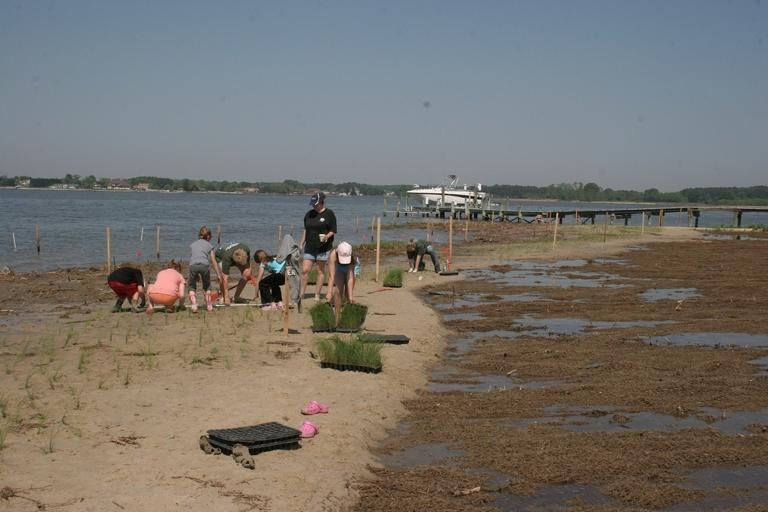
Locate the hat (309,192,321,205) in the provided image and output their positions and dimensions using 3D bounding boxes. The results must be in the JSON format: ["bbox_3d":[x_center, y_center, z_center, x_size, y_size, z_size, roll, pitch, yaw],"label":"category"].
[{"bbox_3d":[-1.568,-1.330,16.485,0.274,0.282,0.503,-4,14,-4],"label":"hat"}]

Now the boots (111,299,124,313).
[{"bbox_3d":[-6.649,1.259,17.805,0.200,0.520,0.224,1,42,-19],"label":"boots"}]

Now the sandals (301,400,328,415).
[{"bbox_3d":[-1.169,2.528,11.927,0.402,0.141,0.194,3,-7,-17],"label":"sandals"}]

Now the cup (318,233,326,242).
[{"bbox_3d":[-1.424,-0.440,16.564,0.136,0.198,0.180,-6,15,-12],"label":"cup"}]

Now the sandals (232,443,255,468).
[{"bbox_3d":[-2.064,2.893,10.384,0.230,0.249,0.404,-10,16,-27],"label":"sandals"}]

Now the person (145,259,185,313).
[{"bbox_3d":[-5.540,0.689,17.709,1.160,0.972,1.318,4,22,-3],"label":"person"}]

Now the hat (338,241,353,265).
[{"bbox_3d":[-0.879,-0.072,15.705,0.347,0.460,0.430,-4,15,-3],"label":"hat"}]

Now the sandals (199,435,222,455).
[{"bbox_3d":[-2.604,2.817,10.632,0.306,0.134,0.197,33,49,27],"label":"sandals"}]

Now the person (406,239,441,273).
[{"bbox_3d":[1.289,-0.048,26.085,1.274,1.142,1.285,-7,4,-33],"label":"person"}]

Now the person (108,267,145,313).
[{"bbox_3d":[-6.475,0.775,17.977,0.814,1.265,1.217,-8,16,-18],"label":"person"}]

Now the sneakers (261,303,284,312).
[{"bbox_3d":[-2.750,1.250,17.741,0.549,0.188,0.218,0,-1,21],"label":"sneakers"}]

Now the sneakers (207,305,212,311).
[{"bbox_3d":[-4.304,1.232,17.568,0.125,0.159,0.264,-7,15,-14],"label":"sneakers"}]

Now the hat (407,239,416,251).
[{"bbox_3d":[1.005,-0.474,25.790,0.327,0.346,0.364,4,-24,4],"label":"hat"}]
